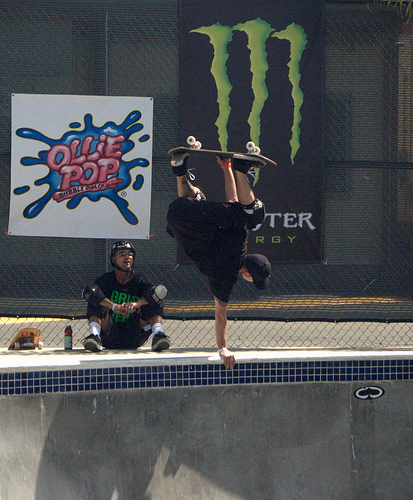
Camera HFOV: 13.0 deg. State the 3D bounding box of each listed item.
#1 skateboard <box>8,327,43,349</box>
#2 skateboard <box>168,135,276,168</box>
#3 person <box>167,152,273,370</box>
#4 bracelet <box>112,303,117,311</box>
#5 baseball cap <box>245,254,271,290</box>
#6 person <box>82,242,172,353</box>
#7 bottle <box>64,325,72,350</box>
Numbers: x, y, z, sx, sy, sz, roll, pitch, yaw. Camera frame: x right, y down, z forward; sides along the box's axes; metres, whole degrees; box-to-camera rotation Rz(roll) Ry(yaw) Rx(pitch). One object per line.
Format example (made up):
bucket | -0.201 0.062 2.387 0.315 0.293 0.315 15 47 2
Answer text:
skateboard | -1.462 0.712 14.574 0.264 0.144 0.184 2 10 -8
skateboard | 0.084 -0.791 14.404 0.616 0.116 0.195 9 -14 6
person | 0.076 0.052 14.097 0.829 1.662 0.456 4 10 5
bracelet | -0.747 0.453 14.415 0.047 0.052 0.030 30 16 37
baseball cap | 0.407 0.152 14.219 0.138 0.288 0.172 -14 5 16
person | -0.643 0.378 14.474 0.712 0.862 0.654 2 10 -5
bottle | -1.126 0.705 14.654 0.063 0.166 0.258 2 10 -5
